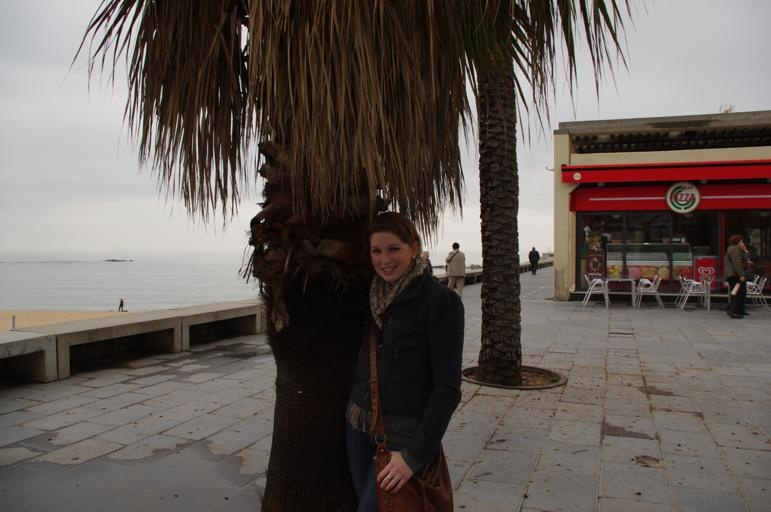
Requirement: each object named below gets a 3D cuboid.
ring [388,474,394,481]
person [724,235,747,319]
[{"bbox_3d":[0.035,1.506,3.705,0.023,0.016,0.022,31,-20,13],"label":"ring"},{"bbox_3d":[8.869,0.516,13.885,0.510,2.039,1.065,-2,0,33],"label":"person"}]
